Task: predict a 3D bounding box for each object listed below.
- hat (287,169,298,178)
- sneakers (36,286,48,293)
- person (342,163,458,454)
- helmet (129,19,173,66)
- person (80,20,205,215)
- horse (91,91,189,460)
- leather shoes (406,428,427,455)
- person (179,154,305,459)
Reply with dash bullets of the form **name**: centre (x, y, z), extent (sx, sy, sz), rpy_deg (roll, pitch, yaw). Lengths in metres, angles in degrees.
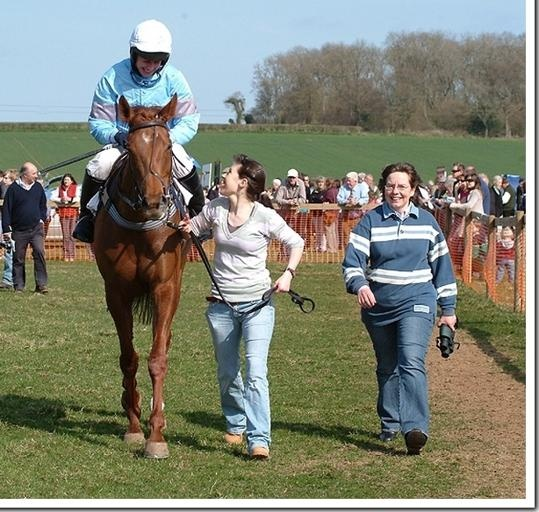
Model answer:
- **hat**: centre (0.457, -1.624, 19.930), extent (0.260, 0.180, 0.385), rpy_deg (7, 13, 4)
- **sneakers**: centre (-3.472, 0.509, 15.149), extent (0.220, 0.071, 0.099), rpy_deg (7, 18, 20)
- **person**: centre (1.048, 0.403, 8.180), extent (0.851, 2.303, 0.743), rpy_deg (6, 10, 32)
- **helmet**: centre (-1.030, -1.846, 8.725), extent (0.396, 0.421, 0.500), rpy_deg (5, 28, -14)
- **person**: centre (-1.160, -1.221, 8.880), extent (1.099, 1.642, 1.030), rpy_deg (-8, 25, -24)
- **horse**: centre (-1.037, 0.097, 8.308), extent (0.745, 2.836, 1.431), rpy_deg (-2, 9, -18)
- **leather shoes**: centre (1.163, 1.465, 7.936), extent (0.120, 0.270, 0.132), rpy_deg (6, 39, 2)
- **person**: centre (-0.163, 0.372, 8.087), extent (0.774, 2.368, 0.961), rpy_deg (-4, 9, -29)
